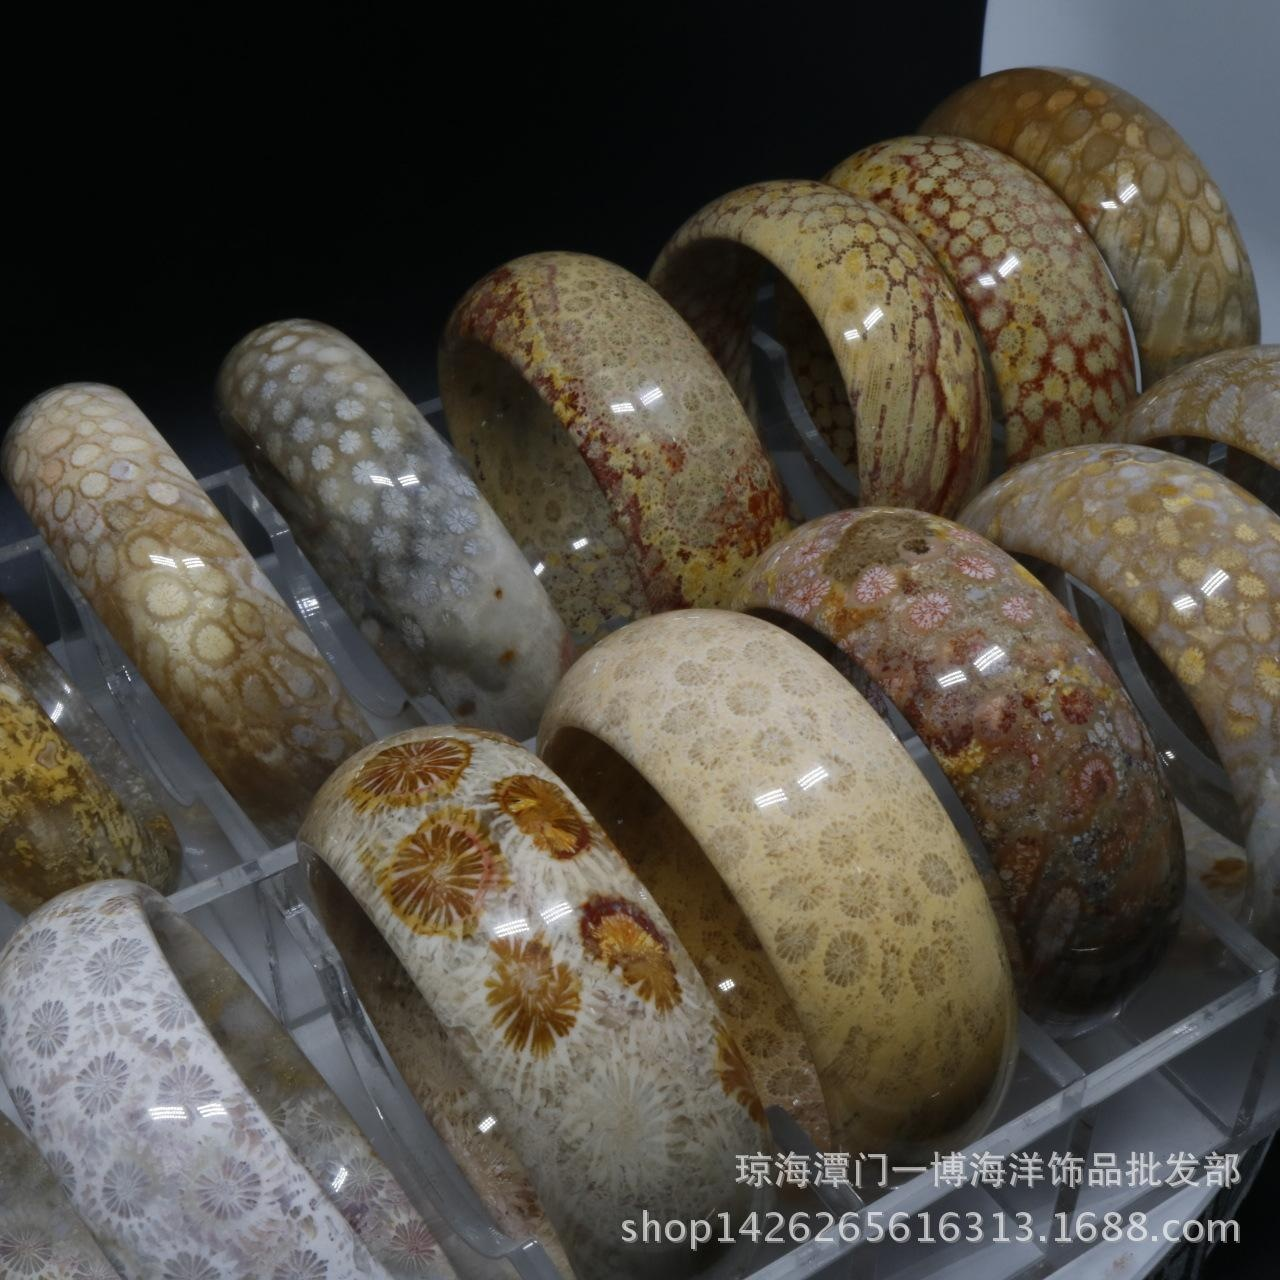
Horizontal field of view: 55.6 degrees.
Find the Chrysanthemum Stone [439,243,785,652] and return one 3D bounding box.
[{"bbox_3d":[-0.012,-0.141,1.176,0.139,0.425,0.323,-32,64,-15],"label":"Chrysanthemum Stone"}]
